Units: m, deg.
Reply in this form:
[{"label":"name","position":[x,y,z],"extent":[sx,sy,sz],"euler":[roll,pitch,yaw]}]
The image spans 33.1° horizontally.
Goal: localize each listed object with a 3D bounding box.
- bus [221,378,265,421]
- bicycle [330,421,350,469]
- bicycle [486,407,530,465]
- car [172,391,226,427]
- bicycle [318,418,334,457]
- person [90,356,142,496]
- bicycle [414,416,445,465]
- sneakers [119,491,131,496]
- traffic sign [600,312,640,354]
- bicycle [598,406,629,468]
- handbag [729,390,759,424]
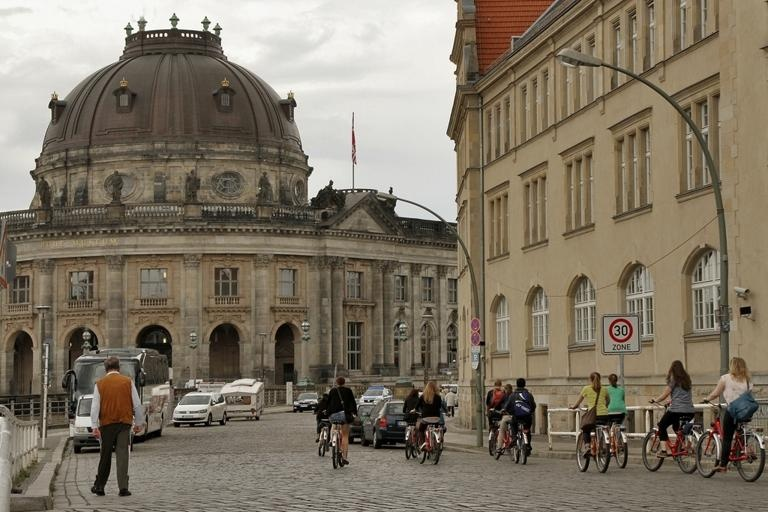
[{"label":"bus","position":[-8.318,8.433,77.195],"extent":[1.732,1.515,2.890],"euler":[0,-7,2]},{"label":"bicycle","position":[-1.263,5.338,36.731],"extent":[0.434,1.305,0.928],"euler":[0,-12,-2]},{"label":"bicycle","position":[3.881,5.437,38.006],"extent":[0.776,1.003,1.688],"euler":[5,-2,-28]},{"label":"car","position":[-9.640,8.055,68.609],"extent":[1.459,1.118,3.093],"euler":[-3,-10,9]},{"label":"bicycle","position":[-2.002,5.671,40.653],"extent":[0.658,0.793,1.345],"euler":[0,-18,2]},{"label":"person","position":[-6.440,4.024,30.959],"extent":[1.173,3.321,0.981],"euler":[1,-12,-7]},{"label":"bicycle","position":[1.324,5.381,37.926],"extent":[0.626,1.364,1.244],"euler":[9,-15,-35]},{"label":"sneakers","position":[-6.175,5.600,30.815],"extent":[0.269,0.179,0.332],"euler":[3,-13,-14]},{"label":"traffic sign","position":[6.608,2.154,36.165],"extent":[1.311,1.315,0.169],"euler":[1,-2,-2]},{"label":"bicycle","position":[6.207,4.833,34.450],"extent":[0.497,1.463,1.804],"euler":[-2,-13,9]},{"label":"handbag","position":[8.652,3.607,31.295],"extent":[0.677,0.775,0.286],"euler":[-3,-13,14]}]
